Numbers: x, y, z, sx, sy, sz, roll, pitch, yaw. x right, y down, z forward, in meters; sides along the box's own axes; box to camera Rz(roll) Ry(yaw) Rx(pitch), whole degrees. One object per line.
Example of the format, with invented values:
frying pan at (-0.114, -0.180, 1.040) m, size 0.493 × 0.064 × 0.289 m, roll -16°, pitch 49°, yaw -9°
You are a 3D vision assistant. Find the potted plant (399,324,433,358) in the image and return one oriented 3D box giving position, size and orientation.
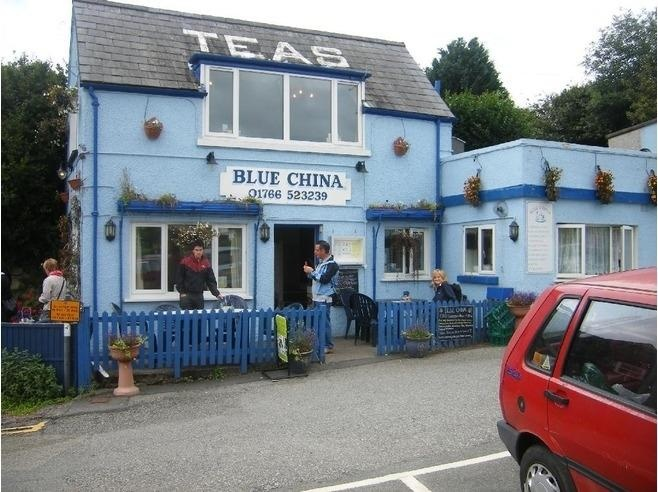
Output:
potted plant at (1.774, 1.902, 12.980) m, size 0.554 × 0.687 × 0.606 m, roll 2°, pitch -4°, yaw -23°

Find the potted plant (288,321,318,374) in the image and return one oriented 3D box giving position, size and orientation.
potted plant at (-0.510, 1.933, 11.836) m, size 0.632 × 1.017 × 0.691 m, roll -2°, pitch -5°, yaw 14°

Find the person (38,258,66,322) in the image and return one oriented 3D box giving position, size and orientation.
person at (-5.640, 0.962, 13.178) m, size 0.547 × 1.300 × 2.598 m, roll -4°, pitch 7°, yaw -24°

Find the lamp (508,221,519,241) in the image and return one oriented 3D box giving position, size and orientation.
lamp at (4.231, -0.338, 14.629) m, size 0.232 × 0.477 × 0.145 m, roll 2°, pitch 7°, yaw 21°

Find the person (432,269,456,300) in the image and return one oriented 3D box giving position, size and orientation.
person at (2.467, 0.928, 14.344) m, size 0.568 × 0.850 × 0.452 m, roll 2°, pitch 10°, yaw 18°

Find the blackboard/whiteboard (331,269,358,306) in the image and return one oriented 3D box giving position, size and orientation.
blackboard/whiteboard at (0.351, 0.992, 15.119) m, size 0.749 × 0.992 × 0.095 m, roll 8°, pitch -15°, yaw -32°

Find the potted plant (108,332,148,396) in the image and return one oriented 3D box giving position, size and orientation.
potted plant at (-3.476, 2.031, 11.019) m, size 0.537 × 0.956 × 0.520 m, roll -2°, pitch 7°, yaw -7°

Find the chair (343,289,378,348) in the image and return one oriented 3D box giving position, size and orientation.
chair at (0.959, 1.602, 14.540) m, size 0.949 × 1.357 × 0.884 m, roll -2°, pitch 4°, yaw -34°

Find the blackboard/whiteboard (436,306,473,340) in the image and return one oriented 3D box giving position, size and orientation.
blackboard/whiteboard at (2.661, 1.652, 13.793) m, size 0.635 × 0.561 × 0.045 m, roll -2°, pitch 3°, yaw -28°

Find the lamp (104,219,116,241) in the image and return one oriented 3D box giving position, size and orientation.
lamp at (-4.646, -0.343, 13.708) m, size 0.274 × 0.486 × 0.161 m, roll -4°, pitch 7°, yaw -23°

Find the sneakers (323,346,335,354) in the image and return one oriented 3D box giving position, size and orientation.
sneakers at (0.028, 2.195, 13.446) m, size 0.085 × 0.128 × 0.277 m, roll -4°, pitch -15°, yaw 19°

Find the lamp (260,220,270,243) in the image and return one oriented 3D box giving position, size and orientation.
lamp at (-1.465, -0.326, 14.868) m, size 0.269 × 0.475 × 0.173 m, roll -3°, pitch 7°, yaw -14°
